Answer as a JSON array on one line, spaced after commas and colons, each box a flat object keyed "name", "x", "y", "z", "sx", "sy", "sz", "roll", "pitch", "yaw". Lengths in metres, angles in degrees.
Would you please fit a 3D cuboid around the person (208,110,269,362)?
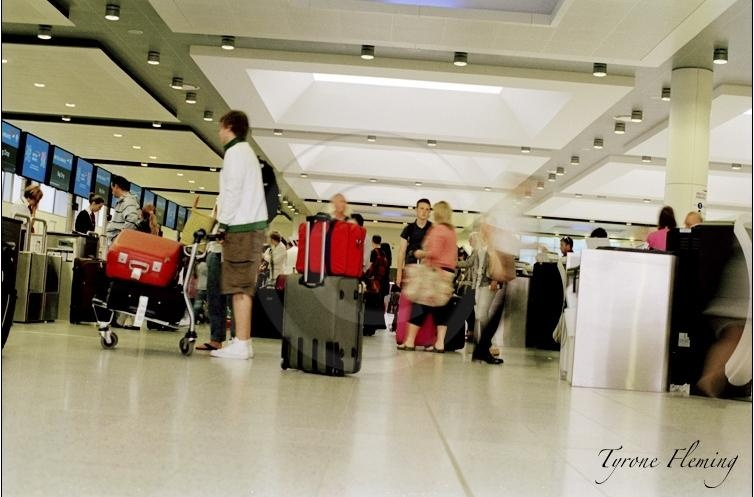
[{"name": "person", "x": -1.237, "y": -0.151, "z": 4.927, "sx": 0.508, "sy": 1.677, "sz": 0.280, "roll": 5, "pitch": -3, "yaw": -17}]

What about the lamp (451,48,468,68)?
[{"name": "lamp", "x": 1.323, "y": -3.057, "z": 8.818, "sx": 0.264, "sy": 0.248, "sz": 0.264, "roll": -3, "pitch": -15, "yaw": 32}]

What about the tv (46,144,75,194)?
[{"name": "tv", "x": -8.321, "y": -2.087, "z": 14.511, "sx": 1.298, "sy": 1.105, "sz": 0.130, "roll": 19, "pitch": 16, "yaw": 35}]

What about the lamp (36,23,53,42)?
[{"name": "lamp", "x": -5.364, "y": -3.486, "z": 8.817, "sx": 0.243, "sy": 0.253, "sz": 0.246, "roll": -1, "pitch": -2, "yaw": 9}]

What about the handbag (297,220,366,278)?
[{"name": "handbag", "x": -0.390, "y": -0.010, "z": 4.409, "sx": 0.522, "sy": 0.468, "sz": 0.289, "roll": 2, "pitch": -5, "yaw": 33}]

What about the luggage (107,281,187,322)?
[{"name": "luggage", "x": -2.158, "y": 0.492, "z": 5.083, "sx": 0.587, "sy": 0.170, "sz": 0.426, "roll": 7, "pitch": 2, "yaw": -27}]

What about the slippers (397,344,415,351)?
[{"name": "slippers", "x": 0.356, "y": 1.258, "z": 6.946, "sx": 0.192, "sy": 0.067, "sz": 0.084, "roll": 3, "pitch": -1, "yaw": 16}]

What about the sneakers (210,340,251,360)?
[{"name": "sneakers", "x": -1.263, "y": 0.898, "z": 4.880, "sx": 0.407, "sy": 0.167, "sz": 0.146, "roll": 2, "pitch": -5, "yaw": 2}]

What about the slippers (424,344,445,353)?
[{"name": "slippers", "x": 0.756, "y": 1.314, "z": 7.143, "sx": 0.100, "sy": 0.082, "sz": 0.257, "roll": 5, "pitch": -1, "yaw": -29}]

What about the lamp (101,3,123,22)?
[{"name": "lamp", "x": -4.011, "y": -3.583, "z": 8.330, "sx": 0.268, "sy": 0.273, "sz": 0.265, "roll": -9, "pitch": 12, "yaw": -44}]

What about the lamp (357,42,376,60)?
[{"name": "lamp", "x": -0.165, "y": -3.168, "z": 8.709, "sx": 0.235, "sy": 0.237, "sz": 0.221, "roll": 6, "pitch": 25, "yaw": 1}]

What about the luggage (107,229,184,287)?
[{"name": "luggage", "x": -2.227, "y": 0.207, "z": 5.067, "sx": 0.618, "sy": 0.379, "sz": 0.488, "roll": 21, "pitch": -21, "yaw": -32}]

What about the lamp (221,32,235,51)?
[{"name": "lamp", "x": -2.354, "y": -3.279, "z": 8.644, "sx": 0.220, "sy": 0.197, "sz": 0.219, "roll": 5, "pitch": 13, "yaw": 14}]
